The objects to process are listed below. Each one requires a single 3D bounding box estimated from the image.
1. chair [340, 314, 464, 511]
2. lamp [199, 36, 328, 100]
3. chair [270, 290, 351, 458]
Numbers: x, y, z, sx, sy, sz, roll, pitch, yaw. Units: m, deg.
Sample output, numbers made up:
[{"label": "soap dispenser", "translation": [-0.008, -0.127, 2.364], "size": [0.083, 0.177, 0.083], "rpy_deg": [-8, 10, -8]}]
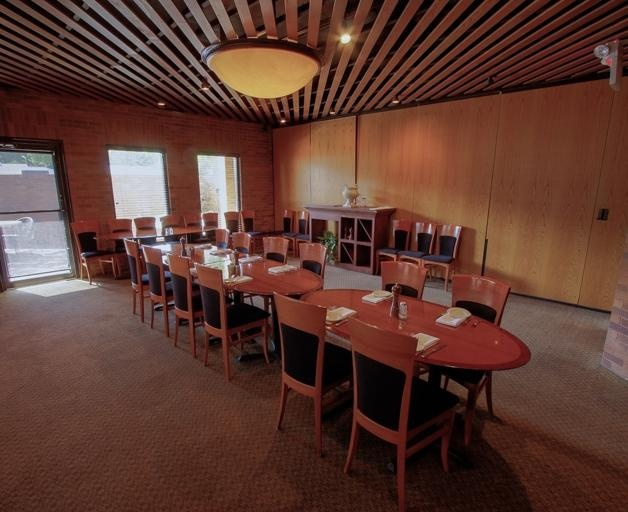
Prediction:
[{"label": "chair", "translation": [0.657, 1.111, 3.147], "size": [0.657, 1.358, 0.585], "rpy_deg": [-11, 15, -41]}, {"label": "lamp", "translation": [-0.430, -1.629, 3.782], "size": [1.130, 0.340, 1.177], "rpy_deg": [-4, 13, -20]}, {"label": "chair", "translation": [0.106, 0.969, 3.667], "size": [0.730, 1.259, 0.799], "rpy_deg": [8, 14, 31]}]
